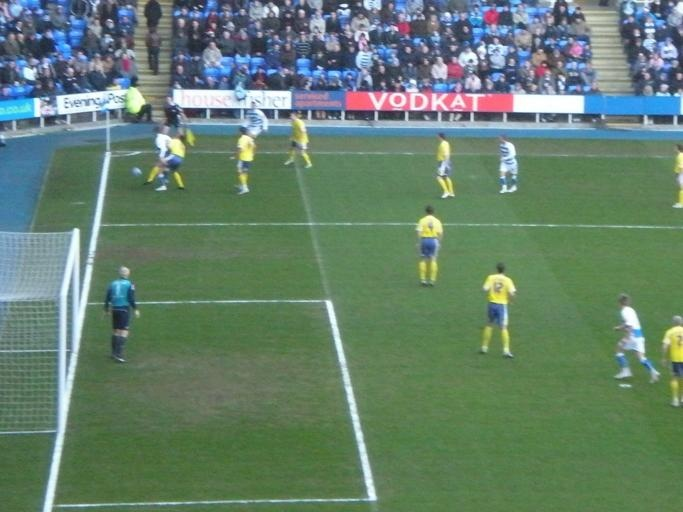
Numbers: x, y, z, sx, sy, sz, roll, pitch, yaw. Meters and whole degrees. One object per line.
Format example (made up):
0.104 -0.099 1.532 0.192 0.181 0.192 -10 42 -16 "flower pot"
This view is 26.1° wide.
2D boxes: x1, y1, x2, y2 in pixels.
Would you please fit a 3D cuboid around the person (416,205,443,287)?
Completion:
2.601 -0.299 43.519 0.717 2.491 1.393 -3 14 3 "person"

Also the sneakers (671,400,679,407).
8.607 3.863 38.103 0.173 0.169 0.176 3 11 24 "sneakers"

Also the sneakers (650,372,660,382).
8.295 3.269 39.117 0.191 0.277 0.297 -3 26 6 "sneakers"

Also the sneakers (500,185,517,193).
5.741 -2.265 50.894 0.740 0.278 0.240 1 18 -3 "sneakers"

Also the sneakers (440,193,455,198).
3.615 -2.025 50.234 0.483 0.180 0.153 -2 0 -11 "sneakers"
